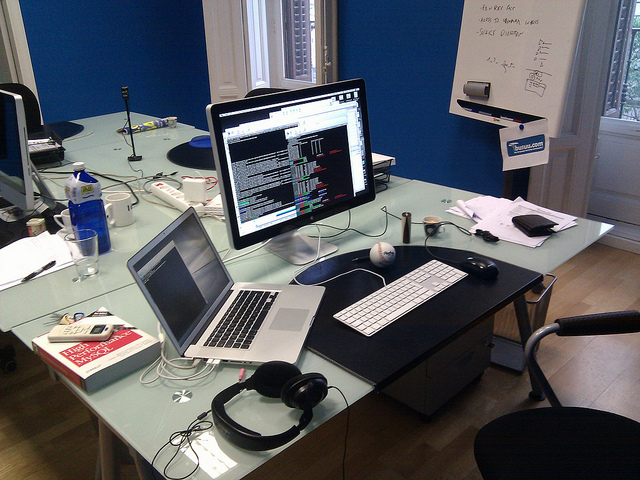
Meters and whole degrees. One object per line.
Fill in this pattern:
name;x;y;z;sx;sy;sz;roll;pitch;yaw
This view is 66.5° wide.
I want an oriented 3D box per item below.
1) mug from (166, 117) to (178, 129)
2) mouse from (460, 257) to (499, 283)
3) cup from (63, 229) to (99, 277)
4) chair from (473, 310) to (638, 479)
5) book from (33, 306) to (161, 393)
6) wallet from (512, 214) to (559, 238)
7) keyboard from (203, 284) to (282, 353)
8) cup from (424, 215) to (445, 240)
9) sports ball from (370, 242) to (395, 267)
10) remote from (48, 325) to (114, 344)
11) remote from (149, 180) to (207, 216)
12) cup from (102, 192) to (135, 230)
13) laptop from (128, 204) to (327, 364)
mug;-1.058;-0.833;3.471;0.076;0.066;0.076;-7;24;-14
mouse;0.564;0.096;1.744;0.070;0.046;0.128;-28;38;-36
cup;-0.903;0.068;1.843;0.114;0.152;0.132;9;19;43
chair;0.900;0.603;1.906;0.554;0.569;0.420;-12;37;-5
book;-0.684;0.323;1.470;0.284;0.052;0.203;22;32;37
wallet;0.880;-0.064;1.978;0.109;0.032;0.106;-10;30;-12
keyboard;-0.257;0.267;1.535;0.201;0.024;0.370;16;21;1
cup;0.461;-0.051;2.043;0.073;0.079;0.111;17;33;35
sports ball;0.233;0.054;1.833;0.086;0.083;0.081;-2;25;1
remote;-0.711;0.280;1.460;0.163;0.026;0.072;-1;18;-2
remote;-0.653;-0.187;2.250;0.082;0.063;0.362;-35;43;-27
cup;-0.897;-0.115;2.129;0.103;0.124;0.171;3;21;11
laptop;-0.249;0.124;1.494;0.467;0.314;0.420;-1;25;8
